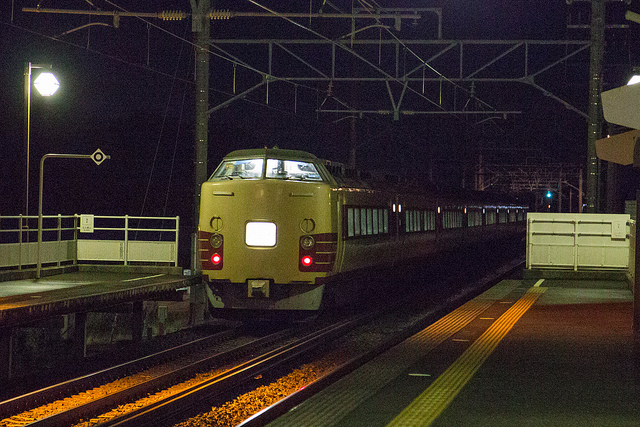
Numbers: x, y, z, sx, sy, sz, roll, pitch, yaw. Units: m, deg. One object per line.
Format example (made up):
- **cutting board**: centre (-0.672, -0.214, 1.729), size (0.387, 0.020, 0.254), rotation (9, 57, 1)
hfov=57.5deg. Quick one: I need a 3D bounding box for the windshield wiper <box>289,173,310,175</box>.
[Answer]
- **windshield wiper**: centre (-0.479, -0.873, 13.045), size (0.473, 0.046, 0.082), rotation (-5, -3, -35)
